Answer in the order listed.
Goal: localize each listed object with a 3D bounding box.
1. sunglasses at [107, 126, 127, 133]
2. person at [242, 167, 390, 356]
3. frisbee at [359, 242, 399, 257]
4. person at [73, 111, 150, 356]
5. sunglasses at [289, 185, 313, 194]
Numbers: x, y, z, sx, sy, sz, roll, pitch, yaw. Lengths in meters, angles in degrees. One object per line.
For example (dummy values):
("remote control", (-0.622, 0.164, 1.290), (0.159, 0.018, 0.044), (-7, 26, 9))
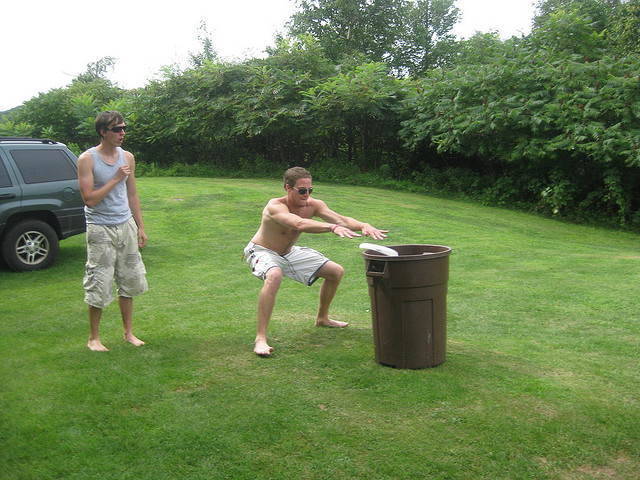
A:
("sunglasses", (-1.873, -1.039, 5.017), (0.106, 0.067, 0.190), (4, 9, 18))
("person", (-0.168, 0.177, 5.272), (1.120, 1.756, 0.870), (0, 10, -7))
("frisbee", (0.513, 0.081, 4.699), (0.219, 0.046, 0.167), (8, 4, -16))
("person", (-2.045, -0.115, 5.293), (0.636, 2.259, 1.043), (-3, 11, -22))
("sunglasses", (-0.149, -0.495, 5.284), (0.235, 0.071, 0.121), (-4, 10, -32))
